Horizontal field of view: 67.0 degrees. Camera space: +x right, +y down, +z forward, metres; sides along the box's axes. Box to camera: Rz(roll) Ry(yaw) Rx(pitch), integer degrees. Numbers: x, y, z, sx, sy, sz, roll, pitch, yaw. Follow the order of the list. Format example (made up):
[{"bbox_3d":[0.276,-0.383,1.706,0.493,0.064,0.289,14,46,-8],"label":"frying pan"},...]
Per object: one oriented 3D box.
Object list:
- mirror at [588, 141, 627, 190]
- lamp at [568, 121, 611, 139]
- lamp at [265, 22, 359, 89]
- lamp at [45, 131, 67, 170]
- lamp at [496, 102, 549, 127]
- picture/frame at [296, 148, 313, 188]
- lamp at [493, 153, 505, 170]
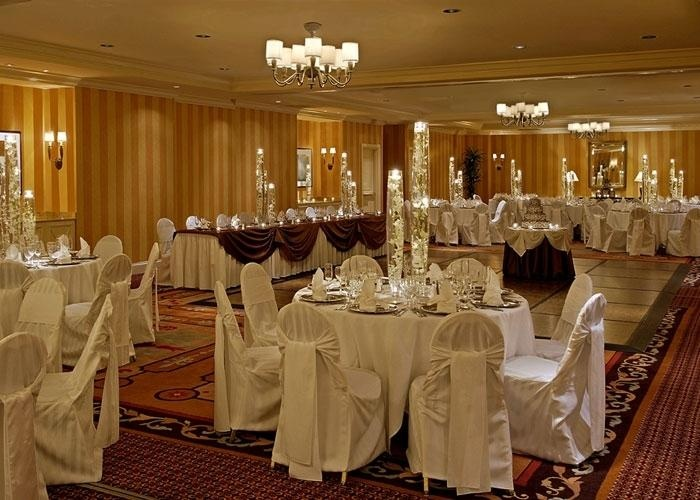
[{"bbox_3d":[9.931,-3.307,20.525,1.382,2.229,0.192,2,-24,23],"label":"mirror"},{"bbox_3d":[7.538,-3.822,16.669,0.992,0.668,1.047,3,5,35],"label":"lamp"},{"bbox_3d":[-0.500,-2.583,6.898,1.265,0.878,1.267,-11,20,-33],"label":"lamp"},{"bbox_3d":[-5.284,-1.817,9.558,0.183,0.659,0.352,19,19,35],"label":"lamp"},{"bbox_3d":[4.350,-3.485,13.415,1.058,0.636,1.166,-2,5,-14],"label":"lamp"},{"bbox_3d":[-1.401,-2.541,16.311,0.053,1.213,1.068,-4,11,-22],"label":"picture/frame"},{"bbox_3d":[6.205,-3.742,22.124,0.577,0.989,0.455,0,1,11],"label":"lamp"}]
